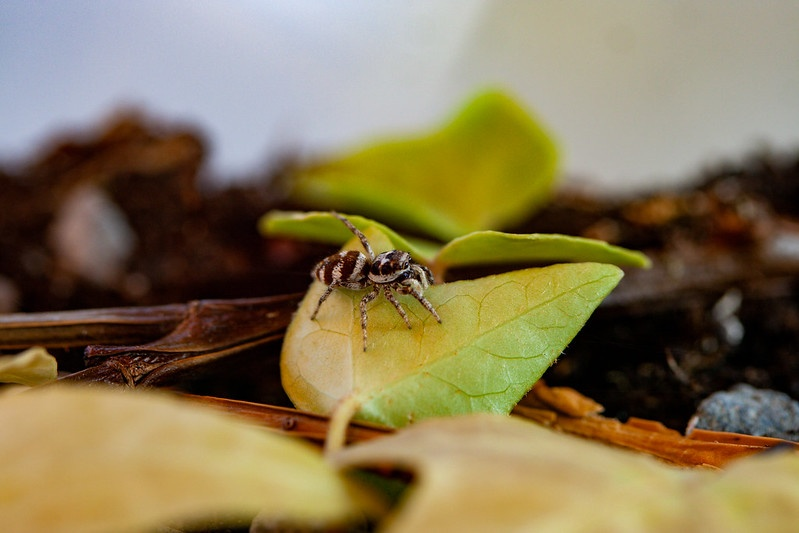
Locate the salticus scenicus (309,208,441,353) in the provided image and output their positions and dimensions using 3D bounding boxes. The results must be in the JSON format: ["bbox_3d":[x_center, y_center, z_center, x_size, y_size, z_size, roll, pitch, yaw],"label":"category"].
[{"bbox_3d":[-0.052,0.036,1.663,0.262,0.092,0.264,11,37,22],"label":"salticus scenicus"}]
